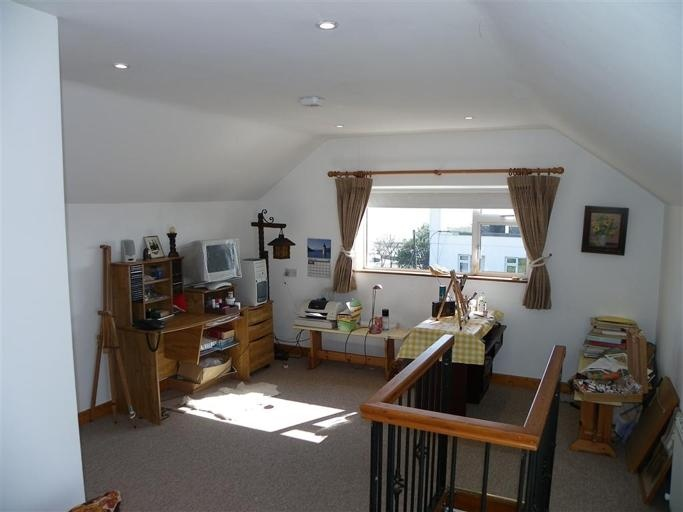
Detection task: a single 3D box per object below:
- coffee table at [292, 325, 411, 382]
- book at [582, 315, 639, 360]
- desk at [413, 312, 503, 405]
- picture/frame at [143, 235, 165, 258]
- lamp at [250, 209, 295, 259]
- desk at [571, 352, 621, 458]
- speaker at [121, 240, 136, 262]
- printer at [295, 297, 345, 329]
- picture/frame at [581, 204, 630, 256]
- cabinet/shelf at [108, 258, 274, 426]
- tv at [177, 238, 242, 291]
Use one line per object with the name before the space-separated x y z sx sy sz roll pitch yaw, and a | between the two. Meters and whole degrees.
coffee table | 0.116 1.157 6.106 1.435 0.541 0.405 2 7 25
book | 2.665 0.814 4.943 0.438 0.335 0.477 7 13 30
desk | 1.234 1.167 5.087 0.773 0.572 1.138 1 7 18
picture/frame | -1.984 -0.096 5.198 0.021 0.230 0.223 -9 2 19
lamp | -0.925 -0.302 6.400 0.410 0.581 0.668 -1 11 -7
desk | 2.186 1.272 4.424 0.422 0.578 0.838 1 3 20
speaker | -2.136 -0.060 4.955 0.149 0.207 0.247 -6 13 -28
printer | -0.278 0.712 6.129 0.596 0.294 0.306 2 11 8
picture/frame | 2.738 -0.276 5.104 0.485 0.670 0.048 3 6 27
cabinet/shelf | -1.667 0.740 5.276 0.657 1.516 1.690 7 13 32
tv | -1.497 0.076 5.703 0.342 0.514 0.613 -2 3 30
